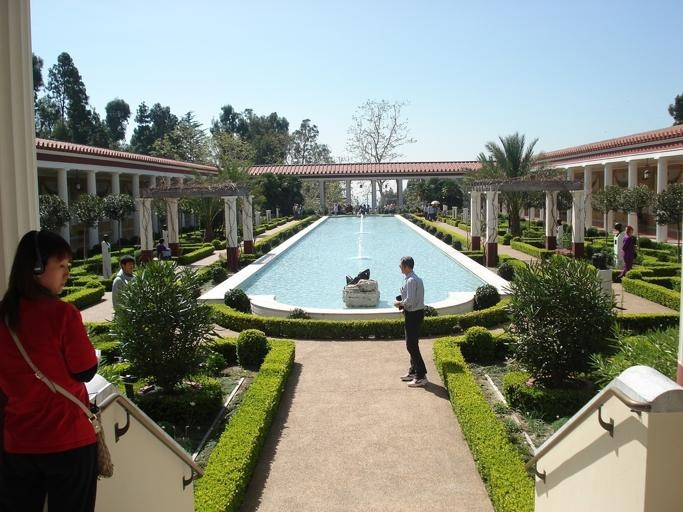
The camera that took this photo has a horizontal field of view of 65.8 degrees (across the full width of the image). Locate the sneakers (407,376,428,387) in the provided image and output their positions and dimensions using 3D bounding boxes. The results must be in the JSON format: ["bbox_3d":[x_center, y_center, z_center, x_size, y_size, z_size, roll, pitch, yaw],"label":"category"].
[{"bbox_3d":[1.081,1.779,7.491,0.315,0.172,0.118,0,2,-3],"label":"sneakers"}]

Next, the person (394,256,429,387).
[{"bbox_3d":[0.998,0.920,7.476,0.454,1.810,0.512,1,9,9],"label":"person"}]

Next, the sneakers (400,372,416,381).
[{"bbox_3d":[0.964,1.742,7.626,0.233,0.112,0.087,3,-2,-26],"label":"sneakers"}]

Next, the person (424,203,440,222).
[{"bbox_3d":[7.393,-3.617,42.708,0.962,1.336,3.182,-1,2,3],"label":"person"}]
